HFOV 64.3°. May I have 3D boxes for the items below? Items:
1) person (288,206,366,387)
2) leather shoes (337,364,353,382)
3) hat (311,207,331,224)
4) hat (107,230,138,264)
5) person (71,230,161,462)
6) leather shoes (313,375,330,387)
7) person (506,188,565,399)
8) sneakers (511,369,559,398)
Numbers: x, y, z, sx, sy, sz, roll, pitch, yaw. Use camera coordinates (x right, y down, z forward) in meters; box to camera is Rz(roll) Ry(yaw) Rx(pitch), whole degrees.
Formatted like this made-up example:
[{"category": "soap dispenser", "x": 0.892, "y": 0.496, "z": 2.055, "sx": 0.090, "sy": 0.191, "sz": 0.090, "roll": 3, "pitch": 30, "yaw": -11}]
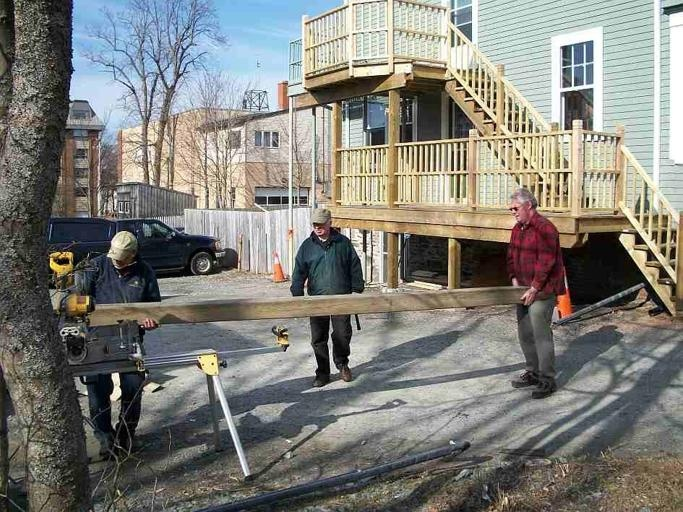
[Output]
[{"category": "person", "x": -0.159, "y": 0.476, "z": 6.555, "sx": 0.877, "sy": 2.117, "sz": 0.613, "roll": -2, "pitch": 4, "yaw": -6}, {"category": "leather shoes", "x": 0.039, "y": 1.427, "z": 6.681, "sx": 0.115, "sy": 0.097, "sz": 0.267, "roll": -3, "pitch": 16, "yaw": -19}, {"category": "hat", "x": -0.248, "y": -0.478, "z": 6.525, "sx": 0.243, "sy": 0.184, "sz": 0.199, "roll": -3, "pitch": 4, "yaw": -19}, {"category": "hat", "x": -1.957, "y": -0.090, "z": 4.842, "sx": 0.249, "sy": 0.258, "sz": 0.266, "roll": -3, "pitch": 5, "yaw": -22}, {"category": "person", "x": -1.905, "y": 0.752, "z": 4.734, "sx": 0.658, "sy": 1.924, "sz": 1.256, "roll": -3, "pitch": 4, "yaw": -21}, {"category": "leather shoes", "x": -0.223, "y": 1.482, "z": 6.518, "sx": 0.106, "sy": 0.124, "sz": 0.267, "roll": 2, "pitch": 5, "yaw": 40}, {"category": "person", "x": 2.117, "y": 0.375, "z": 5.939, "sx": 0.564, "sy": 2.275, "sz": 0.671, "roll": -2, "pitch": 4, "yaw": -6}, {"category": "sneakers", "x": 2.148, "y": 1.417, "z": 5.962, "sx": 0.286, "sy": 0.121, "sz": 0.367, "roll": 0, "pitch": 4, "yaw": -17}]
